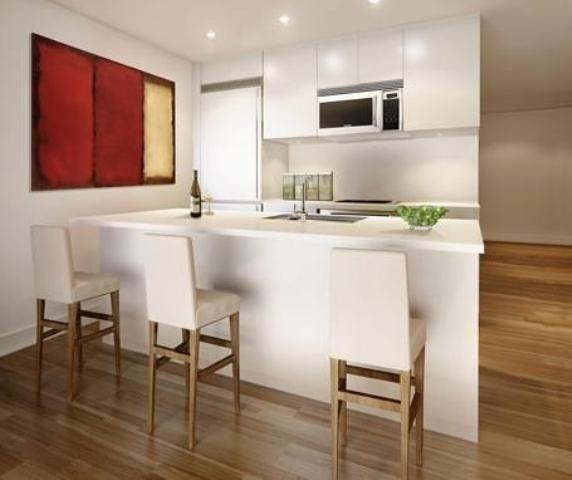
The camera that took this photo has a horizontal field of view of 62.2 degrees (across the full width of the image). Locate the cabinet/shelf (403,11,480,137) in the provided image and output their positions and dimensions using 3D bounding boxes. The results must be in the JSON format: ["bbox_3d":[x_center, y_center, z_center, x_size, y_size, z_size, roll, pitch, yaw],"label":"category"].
[{"bbox_3d":[1.515,-1.665,4.598,0.844,1.380,0.651,1,4,24],"label":"cabinet/shelf"}]

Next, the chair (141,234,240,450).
[{"bbox_3d":[-0.575,0.548,3.031,0.612,1.211,0.767,-3,14,-10],"label":"chair"}]

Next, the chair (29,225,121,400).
[{"bbox_3d":[-1.593,0.418,3.627,0.641,1.187,1.076,-7,16,-27],"label":"chair"}]

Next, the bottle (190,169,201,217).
[{"bbox_3d":[-0.709,-0.373,3.739,0.082,0.355,0.359,-3,14,-11],"label":"bottle"}]

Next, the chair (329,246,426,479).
[{"bbox_3d":[0.507,0.655,2.589,0.539,1.264,0.576,4,14,18],"label":"chair"}]
